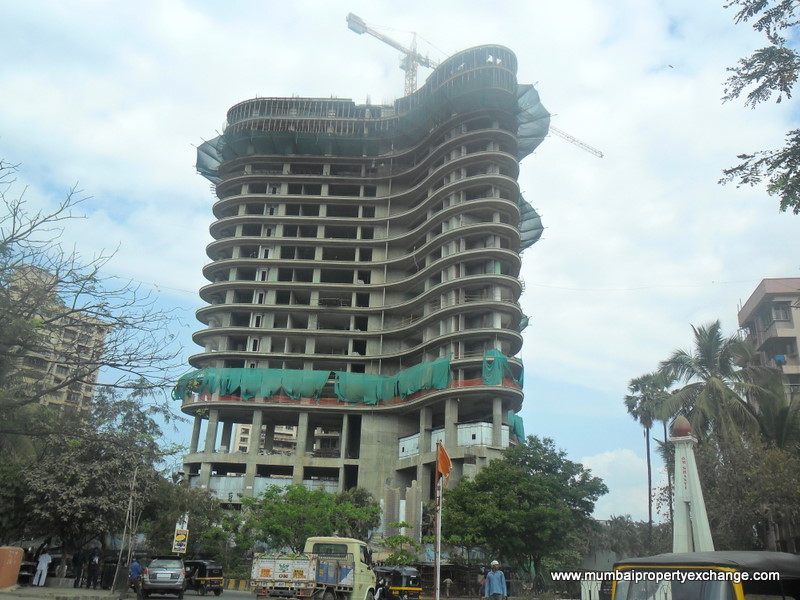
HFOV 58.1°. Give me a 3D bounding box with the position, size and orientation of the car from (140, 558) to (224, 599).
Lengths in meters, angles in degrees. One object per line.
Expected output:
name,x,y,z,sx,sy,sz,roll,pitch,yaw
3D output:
car,-12.791,16.072,41.683,3.538,1.447,3.442,0,-35,-6

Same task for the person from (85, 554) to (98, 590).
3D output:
person,-21.652,18.919,50.531,0.817,1.998,1.094,11,-24,-20

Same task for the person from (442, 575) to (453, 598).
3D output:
person,3.591,21.372,53.796,0.702,1.263,1.510,2,-22,2
